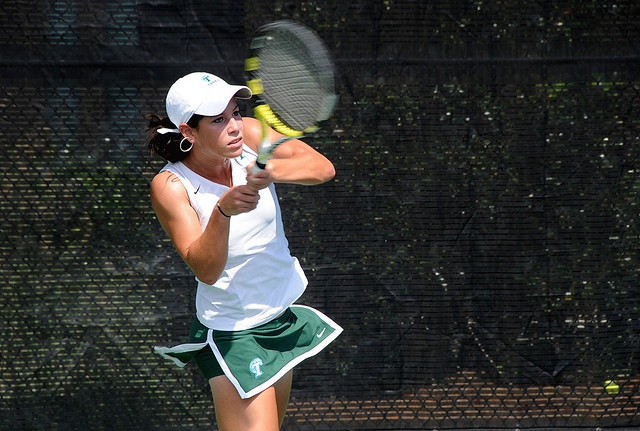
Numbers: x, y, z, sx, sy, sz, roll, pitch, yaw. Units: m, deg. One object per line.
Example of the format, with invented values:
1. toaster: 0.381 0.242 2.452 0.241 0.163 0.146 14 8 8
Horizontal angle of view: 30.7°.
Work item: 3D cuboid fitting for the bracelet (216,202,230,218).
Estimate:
1. bracelet: -0.577 -0.025 6.912 0.094 0.071 0.067 -2 1 9
